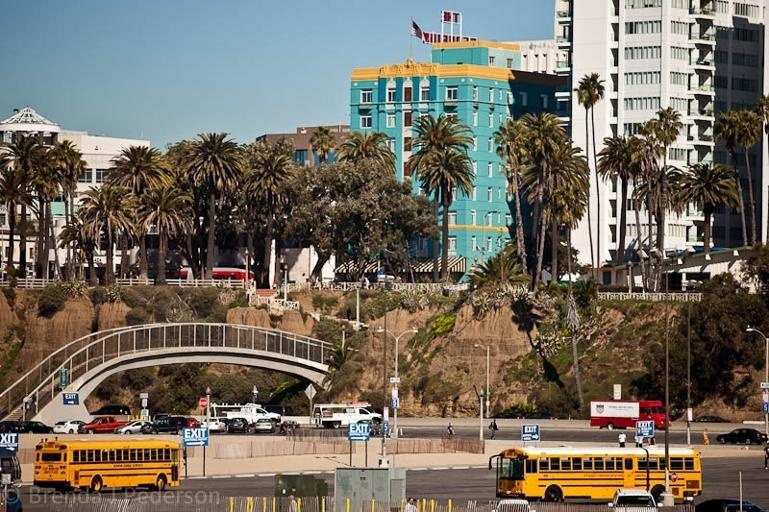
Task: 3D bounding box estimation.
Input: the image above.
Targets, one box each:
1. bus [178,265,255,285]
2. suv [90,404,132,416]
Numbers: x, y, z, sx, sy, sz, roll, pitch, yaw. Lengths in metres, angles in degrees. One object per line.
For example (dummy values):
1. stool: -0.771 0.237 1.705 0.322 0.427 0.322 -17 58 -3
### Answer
1. bus: -25.951 2.947 291.910 7.883 2.729 2.414 1 -3 20
2. suv: -37.119 20.595 258.777 3.126 1.353 1.964 4 -2 4
